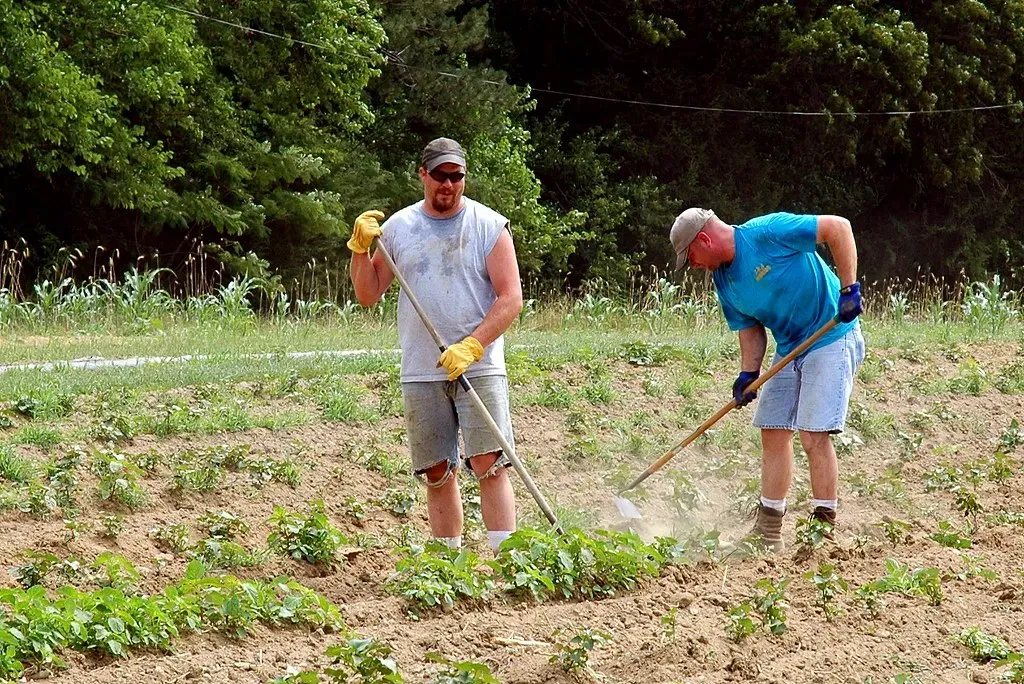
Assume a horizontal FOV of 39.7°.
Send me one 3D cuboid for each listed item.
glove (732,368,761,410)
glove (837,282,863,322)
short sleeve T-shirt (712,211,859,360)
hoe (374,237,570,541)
[{"bbox_3d":[2.373,0.495,14.490,0.113,0.366,0.268,5,33,-25],"label":"glove"},{"bbox_3d":[3.292,-0.397,13.906,0.252,0.367,0.120,1,12,-39],"label":"glove"},{"bbox_3d":[2.689,-0.550,14.407,0.799,1.416,1.478,-22,-9,-45],"label":"short sleeve T-shirt"},{"bbox_3d":[-0.440,0.601,14.419,0.102,3.965,0.311,-29,8,20],"label":"hoe"}]
